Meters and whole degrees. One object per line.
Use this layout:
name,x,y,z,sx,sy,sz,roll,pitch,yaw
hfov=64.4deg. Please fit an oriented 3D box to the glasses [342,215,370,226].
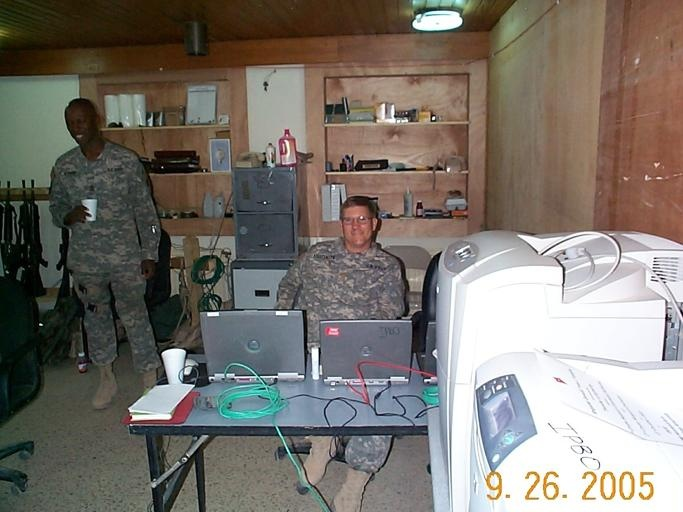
glasses,0.079,-0.192,2.941,0.145,0.050,0.039,1,14,2

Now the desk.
desk,-0.260,0.925,2.313,1.215,0.778,0.471,1,14,5

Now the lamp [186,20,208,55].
lamp,-1.252,-1.880,4.706,0.230,0.247,0.222,6,17,14

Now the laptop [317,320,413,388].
laptop,0.111,0.388,2.391,0.387,0.299,0.278,-1,14,3

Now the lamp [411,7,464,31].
lamp,0.737,-1.792,4.120,0.350,0.098,0.389,5,14,18

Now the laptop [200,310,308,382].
laptop,-0.348,0.369,2.426,0.461,0.306,0.322,-2,8,13

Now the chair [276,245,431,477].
chair,0.059,0.342,2.777,0.686,0.414,1.135,7,27,-11

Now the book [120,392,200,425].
book,-0.709,0.599,2.160,0.244,0.039,0.228,0,13,-3

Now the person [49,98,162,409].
person,-1.534,0.015,3.574,0.661,2.006,0.402,-5,16,-18

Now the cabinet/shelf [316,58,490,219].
cabinet/shelf,0.596,-1.138,5.029,1.668,1.491,0.479,0,13,7

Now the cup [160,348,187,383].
cup,-0.718,0.473,2.388,0.138,0.146,0.134,-1,4,0
